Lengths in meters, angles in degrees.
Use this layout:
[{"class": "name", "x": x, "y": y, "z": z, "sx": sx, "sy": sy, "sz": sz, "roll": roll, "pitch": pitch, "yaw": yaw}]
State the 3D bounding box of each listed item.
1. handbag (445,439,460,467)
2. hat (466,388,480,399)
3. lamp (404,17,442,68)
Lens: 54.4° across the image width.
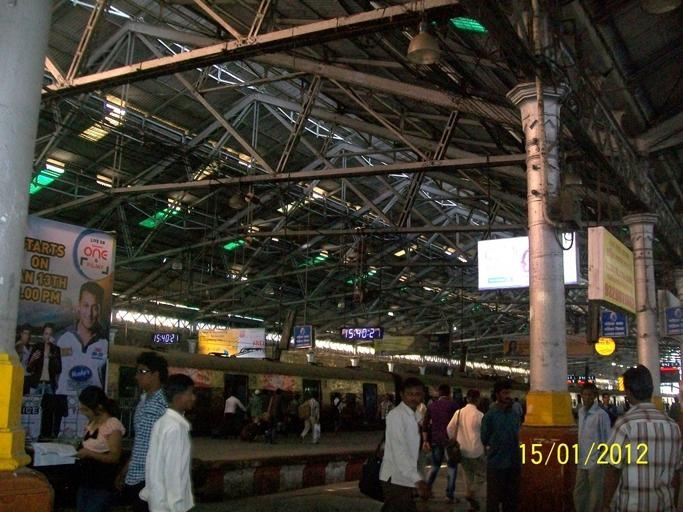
[{"class": "handbag", "x": 1.783, "y": 3.117, "z": 10.500, "sx": 0.229, "sy": 0.391, "sz": 0.400, "roll": -1, "pitch": -12, "yaw": 8}, {"class": "hat", "x": 2.149, "y": 2.233, "z": 10.711, "sx": 0.246, "sy": 0.160, "sz": 0.224, "roll": 2, "pitch": -10, "yaw": -31}, {"class": "lamp", "x": 1.353, "y": -3.463, "z": 10.679, "sx": 0.532, "sy": 0.461, "sz": 0.519, "roll": -2, "pitch": -3, "yaw": 38}]
